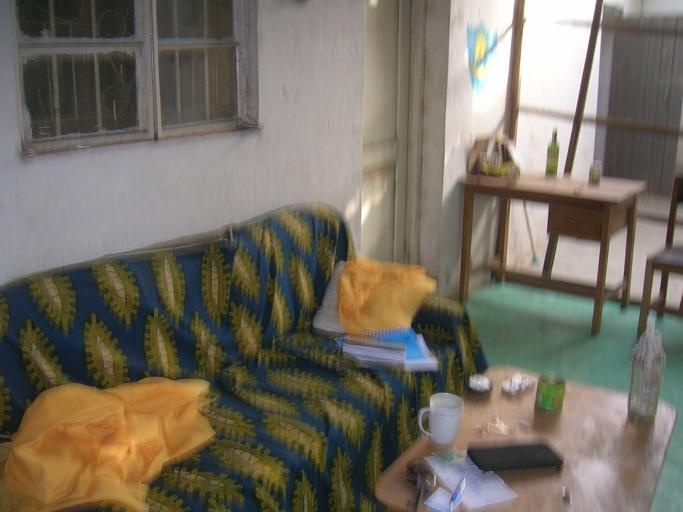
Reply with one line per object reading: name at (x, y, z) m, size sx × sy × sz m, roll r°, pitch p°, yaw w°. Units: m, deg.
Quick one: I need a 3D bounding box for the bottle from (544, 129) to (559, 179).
bottle at (0.320, -0.160, 0.916) m, size 0.020 × 0.068 × 0.111 m, roll 4°, pitch 15°, yaw 19°

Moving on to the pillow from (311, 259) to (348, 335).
pillow at (-0.033, 0.122, 1.688) m, size 0.041 × 0.167 × 0.122 m, roll 10°, pitch -2°, yaw -25°

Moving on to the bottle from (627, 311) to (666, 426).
bottle at (0.564, 0.207, 1.116) m, size 0.056 × 0.256 × 0.061 m, roll -8°, pitch 37°, yaw 6°

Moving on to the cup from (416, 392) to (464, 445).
cup at (0.212, 0.331, 1.226) m, size 0.095 × 0.107 × 0.066 m, roll -9°, pitch 17°, yaw -23°
